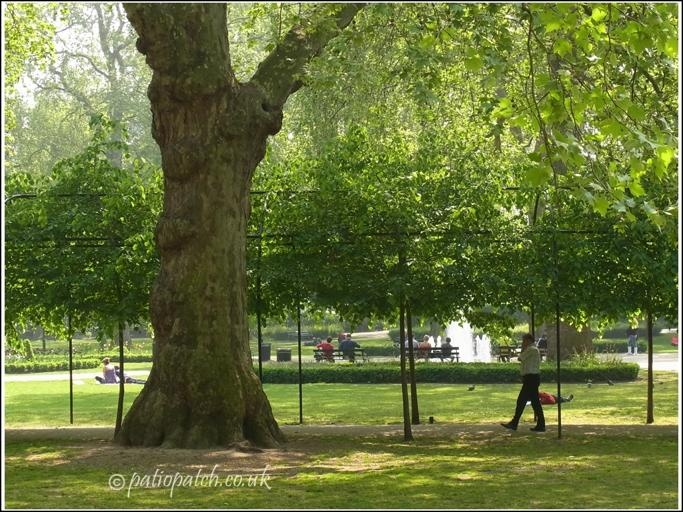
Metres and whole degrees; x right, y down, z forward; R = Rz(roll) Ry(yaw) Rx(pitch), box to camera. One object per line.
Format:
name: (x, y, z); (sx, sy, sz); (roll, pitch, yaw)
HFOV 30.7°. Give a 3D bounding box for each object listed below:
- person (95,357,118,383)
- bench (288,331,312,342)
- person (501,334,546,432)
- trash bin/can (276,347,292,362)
person: (-7.588, 3.776, 40.283); (0.850, 0.987, 0.725); (0, 6, -28)
bench: (-2.055, 4.234, 64.269); (1.094, 0.400, 2.386); (-1, 0, -18)
person: (4.122, 2.812, 27.664); (0.805, 2.117, 1.542); (-1, 1, 9)
trash bin/can: (-2.018, 3.590, 44.604); (0.468, 0.436, 0.459); (0, 1, -11)
